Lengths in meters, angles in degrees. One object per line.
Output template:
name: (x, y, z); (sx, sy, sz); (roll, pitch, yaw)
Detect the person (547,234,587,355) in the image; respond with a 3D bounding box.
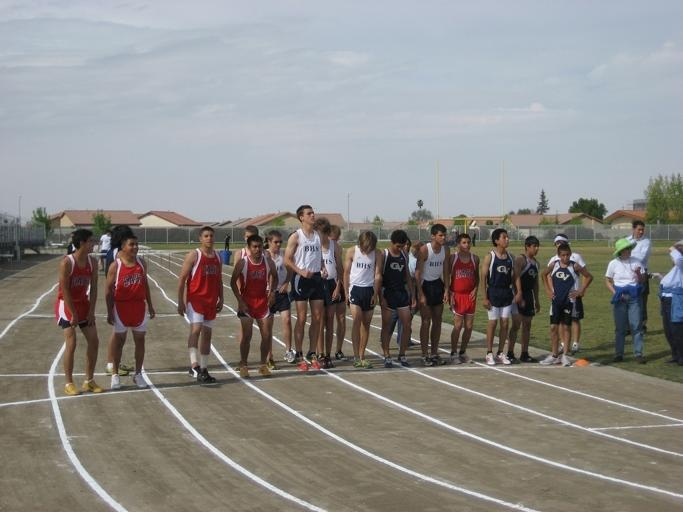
person: (4.194, 0.772, 14.779); (0.801, 2.306, 0.705); (-1, 10, 16)

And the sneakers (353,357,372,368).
sneakers: (0.337, 1.870, 13.819); (0.132, 0.151, 0.328); (4, -5, -39)

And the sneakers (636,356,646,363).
sneakers: (5.371, 1.844, 14.097); (0.102, 0.061, 0.175); (0, 5, 4)

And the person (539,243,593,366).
person: (4.082, 0.840, 14.326); (0.760, 2.164, 0.932); (2, 6, 23)

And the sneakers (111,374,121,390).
sneakers: (-3.436, 1.909, 12.006); (0.102, 0.128, 0.286); (0, 3, -13)

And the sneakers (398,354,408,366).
sneakers: (1.129, 1.852, 14.040); (0.099, 0.126, 0.279); (10, 4, -17)

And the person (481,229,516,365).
person: (2.914, 0.705, 14.399); (0.664, 2.447, 1.121); (1, 5, 12)

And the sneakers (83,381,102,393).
sneakers: (-3.723, 1.960, 11.828); (0.264, 0.126, 0.150); (1, -1, 20)

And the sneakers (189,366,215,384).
sneakers: (-2.225, 1.880, 12.668); (0.178, 0.218, 0.485); (19, 0, -30)

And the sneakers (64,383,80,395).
sneakers: (-3.957, 1.959, 11.600); (0.116, 0.108, 0.255); (-1, -2, -27)

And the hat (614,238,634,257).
hat: (5.231, -0.132, 14.627); (0.318, 0.173, 0.371); (-20, -14, -12)

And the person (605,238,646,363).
person: (5.247, 0.801, 14.412); (0.656, 2.185, 0.911); (0, 5, 1)

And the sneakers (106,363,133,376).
sneakers: (-3.631, 1.860, 12.930); (0.482, 0.223, 0.199); (3, 2, -2)

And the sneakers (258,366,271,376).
sneakers: (-1.254, 1.889, 13.093); (0.188, 0.158, 0.221); (0, 5, -7)

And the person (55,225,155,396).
person: (-3.602, 0.785, 11.929); (1.300, 2.445, 0.789); (-2, 6, -22)

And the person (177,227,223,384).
person: (-2.248, 0.763, 12.706); (0.676, 2.489, 1.151); (-1, 5, -10)

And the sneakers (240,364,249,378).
sneakers: (-1.593, 1.875, 13.026); (0.156, 0.184, 0.333); (-1, 5, -9)
